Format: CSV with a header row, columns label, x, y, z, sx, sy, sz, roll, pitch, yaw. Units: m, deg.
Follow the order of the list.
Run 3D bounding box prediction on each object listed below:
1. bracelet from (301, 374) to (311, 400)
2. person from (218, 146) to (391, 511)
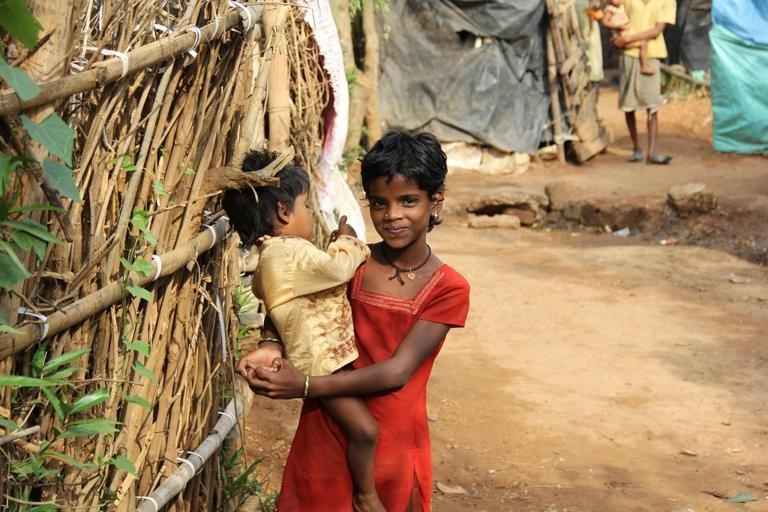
label,x,y,z,sx,sy,sz,roll,pitch,yaw
bracelet,-0.278,0.468,2.691,0.022,0.061,0.045,4,-8,-15
person,-0.283,0.274,2.938,0.363,1.310,0.779,-10,15,-39
